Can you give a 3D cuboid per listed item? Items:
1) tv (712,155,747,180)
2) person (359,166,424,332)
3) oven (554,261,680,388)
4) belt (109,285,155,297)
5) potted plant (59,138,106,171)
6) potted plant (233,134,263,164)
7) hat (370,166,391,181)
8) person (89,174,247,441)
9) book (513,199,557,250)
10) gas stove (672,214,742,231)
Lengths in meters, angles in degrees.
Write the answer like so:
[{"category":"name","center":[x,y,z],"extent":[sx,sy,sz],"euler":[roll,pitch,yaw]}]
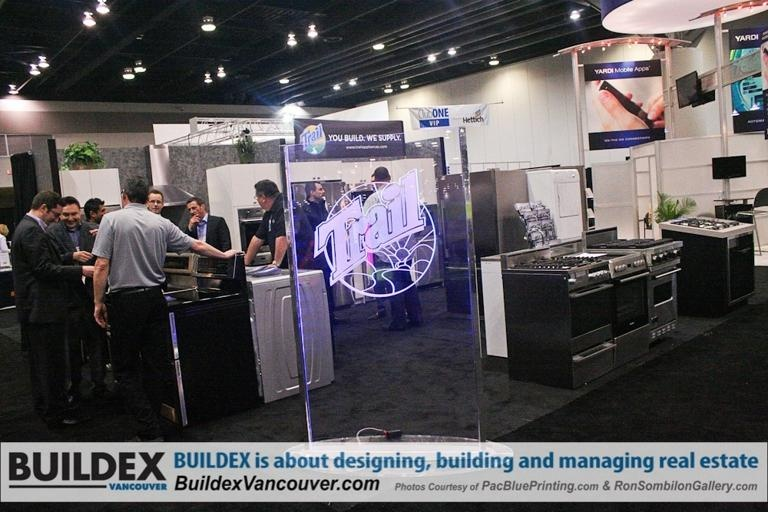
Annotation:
[{"category":"tv","center":[5.577,-1.452,8.719],"extent":[0.613,0.386,0.067],"euler":[-1,1,4]},{"category":"person","center":[0.040,-0.071,3.617],"extent":[0.350,1.166,0.309],"euler":[-10,28,-5]},{"category":"oven","center":[2.417,0.339,5.761],"extent":[1.007,1.139,1.867],"euler":[-6,4,39]},{"category":"belt","center":[-1.976,0.283,4.288],"extent":[0.375,0.099,0.092],"euler":[-5,6,-16]},{"category":"potted plant","center":[-4.485,-1.508,8.023],"extent":[0.569,0.443,0.413],"euler":[-7,6,-28]},{"category":"potted plant","center":[-2.137,-1.702,8.397],"extent":[0.294,0.516,0.285],"euler":[-7,6,-23]},{"category":"hat","center":[-0.019,-0.547,3.613],"extent":[0.093,0.112,0.124],"euler":[2,2,-11]},{"category":"person","center":[-1.970,0.438,4.544],"extent":[0.767,2.170,0.538],"euler":[-8,7,-37]},{"category":"book","center":[1.576,-0.347,5.830],"extent":[0.418,0.520,0.187],"euler":[-17,2,-31]},{"category":"gas stove","center":[3.974,-0.409,6.669],"extent":[0.756,0.119,0.625],"euler":[-9,8,-42]}]
